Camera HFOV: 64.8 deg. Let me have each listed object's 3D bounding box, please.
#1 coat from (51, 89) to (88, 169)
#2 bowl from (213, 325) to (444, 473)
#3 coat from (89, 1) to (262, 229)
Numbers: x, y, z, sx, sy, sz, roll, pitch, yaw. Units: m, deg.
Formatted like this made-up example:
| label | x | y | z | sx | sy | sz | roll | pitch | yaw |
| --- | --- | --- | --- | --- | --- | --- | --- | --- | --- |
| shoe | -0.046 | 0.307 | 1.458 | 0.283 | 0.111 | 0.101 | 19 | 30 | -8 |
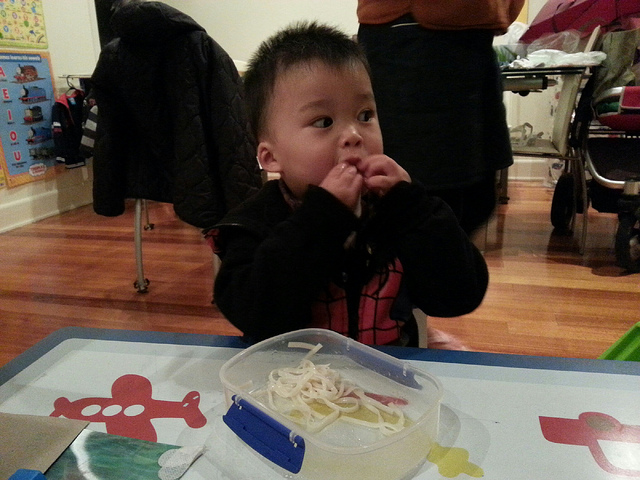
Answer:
| label | x | y | z | sx | sy | sz | roll | pitch | yaw |
| --- | --- | --- | --- | --- | --- | --- | --- | --- | --- |
| coat | -1.840 | -0.829 | 3.736 | 0.294 | 0.544 | 0.224 | -11 | 23 | -25 |
| bowl | 0.002 | 0.192 | 0.610 | 0.245 | 0.067 | 0.229 | -1 | 19 | 0 |
| coat | -0.506 | -0.411 | 1.678 | 0.594 | 0.711 | 0.230 | 1 | 21 | 7 |
